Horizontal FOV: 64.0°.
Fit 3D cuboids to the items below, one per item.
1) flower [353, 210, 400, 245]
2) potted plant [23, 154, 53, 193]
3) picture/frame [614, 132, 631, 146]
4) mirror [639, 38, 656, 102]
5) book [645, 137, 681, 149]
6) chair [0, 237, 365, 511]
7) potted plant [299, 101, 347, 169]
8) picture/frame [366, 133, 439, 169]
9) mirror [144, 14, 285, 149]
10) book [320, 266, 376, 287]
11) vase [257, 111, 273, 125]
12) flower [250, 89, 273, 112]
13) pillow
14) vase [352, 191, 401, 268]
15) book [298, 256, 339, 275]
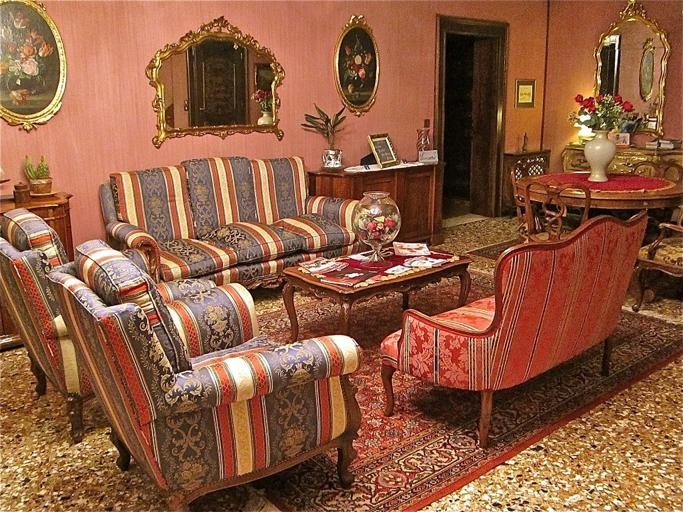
[{"bbox_3d":[0.272,-0.221,4.029,0.280,0.261,0.265,-1,6,-2],"label":"flower"},{"bbox_3d":[-2.518,-0.670,4.534,0.199,0.303,0.365,-13,19,-28],"label":"potted plant"},{"bbox_3d":[3.866,-1.606,7.515,0.196,0.178,0.053,6,1,30],"label":"picture/frame"},{"bbox_3d":[4.178,-2.537,7.472,0.117,0.819,0.237,-10,19,-19],"label":"mirror"},{"bbox_3d":[4.274,-1.462,7.223,0.257,0.091,0.245,-7,10,-40],"label":"book"},{"bbox_3d":[-0.675,0.516,2.766,1.492,1.229,1.203,-9,19,-37],"label":"chair"},{"bbox_3d":[-0.172,-1.306,6.059,0.665,0.670,0.682,-2,6,-12],"label":"potted plant"},{"bbox_3d":[0.628,-1.121,6.218,0.563,0.246,0.604,4,10,29],"label":"picture/frame"},{"bbox_3d":[-1.309,-1.755,5.401,1.450,1.209,0.068,-12,20,-38],"label":"mirror"},{"bbox_3d":[0.041,0.141,3.755,0.190,0.034,0.183,10,21,37],"label":"book"},{"bbox_3d":[-0.817,-1.464,5.857,0.154,0.158,0.147,-2,9,-13],"label":"vase"},{"bbox_3d":[-0.812,-1.631,5.750,0.212,0.205,0.207,-14,15,-42],"label":"flower"},{"bbox_3d":[-1.372,-0.643,5.366,2.250,0.931,0.786,-12,24,-34],"label":"pillow"},{"bbox_3d":[0.253,-0.191,4.125,0.326,0.486,0.330,-7,15,-21],"label":"vase"},{"bbox_3d":[-0.160,0.078,3.993,0.167,0.049,0.163,-10,15,-40],"label":"book"}]
